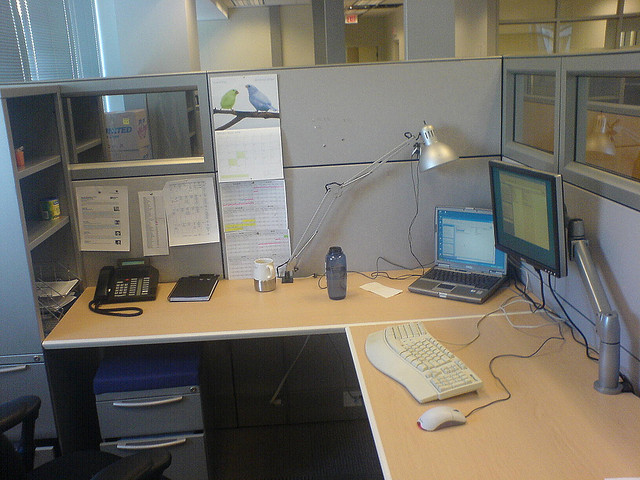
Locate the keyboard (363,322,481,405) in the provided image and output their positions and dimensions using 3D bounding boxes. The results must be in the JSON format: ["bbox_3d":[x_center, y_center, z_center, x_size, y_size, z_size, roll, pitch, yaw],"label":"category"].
[{"bbox_3d":[0.351,0.469,1.979,0.303,0.092,0.498,-12,20,-18],"label":"keyboard"}]

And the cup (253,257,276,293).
[{"bbox_3d":[-0.280,0.191,2.636,0.103,0.154,0.166,-11,12,-27],"label":"cup"}]

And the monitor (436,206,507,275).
[{"bbox_3d":[0.830,-0.068,2.694,0.489,0.295,0.359,3,56,21],"label":"monitor"}]

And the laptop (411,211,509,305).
[{"bbox_3d":[0.670,0.060,2.502,0.468,0.355,0.426,2,16,31],"label":"laptop"}]

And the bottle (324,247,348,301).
[{"bbox_3d":[0.081,0.164,2.526,0.110,0.255,0.108,-4,18,1],"label":"bottle"}]

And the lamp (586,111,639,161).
[{"bbox_3d":[1.741,-0.606,3.069,0.191,0.312,0.516,-1,19,12],"label":"lamp"}]

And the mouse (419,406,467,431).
[{"bbox_3d":[0.402,0.591,1.679,0.123,0.042,0.071,-10,18,-11],"label":"mouse"}]

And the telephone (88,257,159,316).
[{"bbox_3d":[-1.020,0.228,2.596,0.357,0.160,0.431,3,18,5],"label":"telephone"}]

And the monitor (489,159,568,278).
[{"bbox_3d":[0.877,-0.103,2.106,0.050,0.384,0.495,-10,17,-8],"label":"monitor"}]

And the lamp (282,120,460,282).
[{"bbox_3d":[0.237,-0.165,2.687,0.932,0.886,0.230,1,-2,10],"label":"lamp"}]

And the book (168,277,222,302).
[{"bbox_3d":[-0.668,0.250,2.668,0.218,0.048,0.273,-4,19,3],"label":"book"}]
